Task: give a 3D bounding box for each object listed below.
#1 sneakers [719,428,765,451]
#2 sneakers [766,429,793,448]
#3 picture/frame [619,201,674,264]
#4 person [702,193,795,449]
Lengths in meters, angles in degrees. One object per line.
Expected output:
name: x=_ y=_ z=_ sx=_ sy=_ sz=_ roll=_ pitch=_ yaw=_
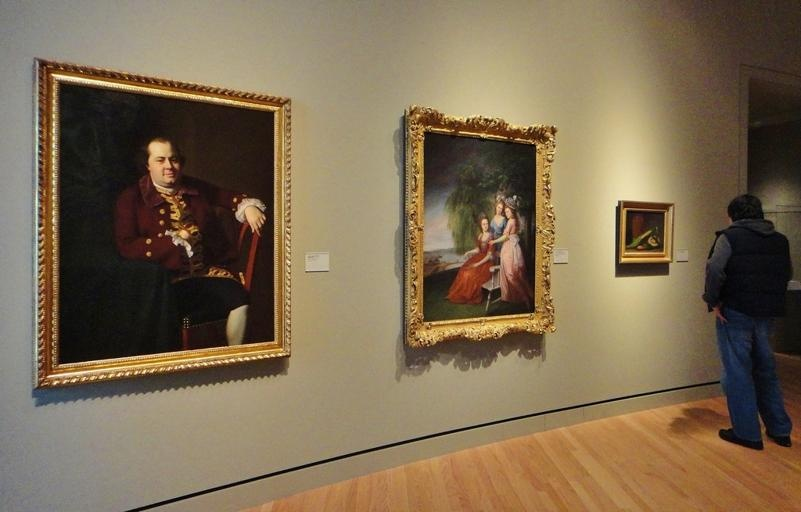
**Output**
sneakers: x=4.028 y=2.199 z=7.745 sx=0.180 sy=0.203 sz=0.481 roll=-9 pitch=18 yaw=-37
sneakers: x=4.521 y=2.189 z=7.779 sx=0.271 sy=0.125 sz=0.119 roll=2 pitch=7 yaw=43
picture/frame: x=3.108 y=-0.312 z=8.317 sx=0.738 sy=0.767 sz=0.080 roll=-2 pitch=3 yaw=-25
person: x=4.147 y=0.922 z=7.769 sx=0.990 sy=2.688 sz=0.365 roll=2 pitch=3 yaw=22
